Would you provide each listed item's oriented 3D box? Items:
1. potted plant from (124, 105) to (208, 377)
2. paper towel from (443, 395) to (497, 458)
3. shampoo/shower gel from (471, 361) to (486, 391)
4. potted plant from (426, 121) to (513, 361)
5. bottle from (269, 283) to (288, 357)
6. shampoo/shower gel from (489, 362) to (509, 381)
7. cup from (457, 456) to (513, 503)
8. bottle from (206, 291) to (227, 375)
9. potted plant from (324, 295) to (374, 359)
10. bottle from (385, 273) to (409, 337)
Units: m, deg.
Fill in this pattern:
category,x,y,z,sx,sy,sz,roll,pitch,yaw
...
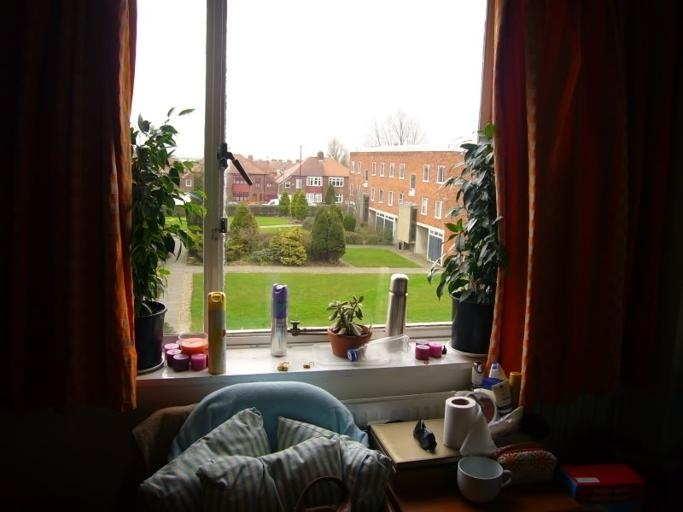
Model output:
category,x,y,z,sx,sy,sz,roll,pitch,yaw
potted plant,-0.786,-0.085,2.394,0.303,1.187,0.391,-1,4,-18
paper towel,0.531,0.722,2.204,0.190,0.203,0.200,-1,8,-19
shampoo/shower gel,0.662,0.572,2.526,0.060,0.122,0.047,1,4,16
potted plant,0.635,-0.070,2.644,0.420,1.136,0.380,2,4,26
bottle,-0.304,0.313,2.596,0.082,0.351,0.136,-1,3,-8
shampoo/shower gel,0.745,0.539,2.479,0.082,0.080,0.105,1,4,19
cup,0.577,0.875,2.115,0.178,0.146,0.148,1,-9,-15
bottle,-0.567,0.347,2.386,0.079,0.362,0.089,-1,3,-16
potted plant,0.039,0.331,2.629,0.246,0.376,0.264,0,1,11
bottle,0.286,0.248,2.693,0.098,0.308,0.125,3,4,40
